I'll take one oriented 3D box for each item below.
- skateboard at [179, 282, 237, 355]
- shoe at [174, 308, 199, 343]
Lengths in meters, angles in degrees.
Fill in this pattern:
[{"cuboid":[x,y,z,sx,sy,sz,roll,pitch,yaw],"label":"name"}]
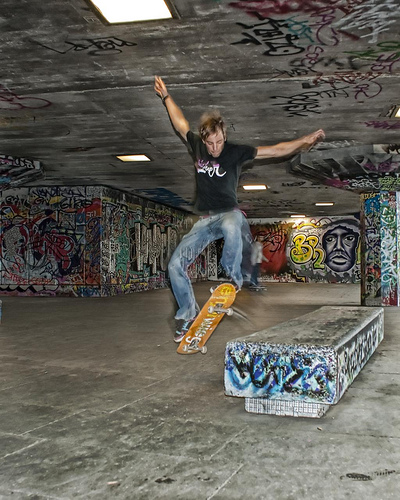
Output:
[{"cuboid":[0.109,0.740,3.801,0.328,1.164,0.178,37,32,10],"label":"skateboard"},{"cuboid":[-0.159,0.857,3.998,0.340,0.345,0.168,-2,1,38],"label":"shoe"}]
